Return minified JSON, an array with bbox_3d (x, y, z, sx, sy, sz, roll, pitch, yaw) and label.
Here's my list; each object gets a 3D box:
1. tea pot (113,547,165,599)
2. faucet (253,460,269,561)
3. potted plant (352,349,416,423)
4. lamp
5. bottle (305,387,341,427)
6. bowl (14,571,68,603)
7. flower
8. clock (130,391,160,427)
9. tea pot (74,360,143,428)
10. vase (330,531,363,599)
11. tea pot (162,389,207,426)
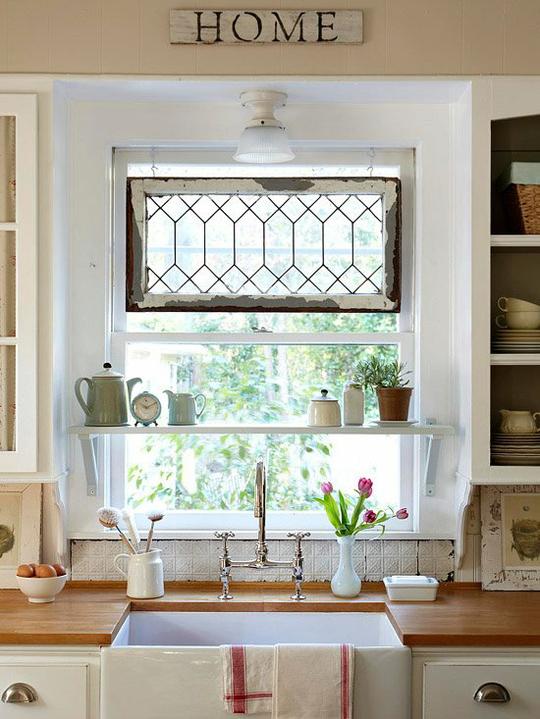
[{"bbox_3d":[-0.375,0.618,2.411,0.145,0.128,0.104,4,-10,-29],"label":"tea pot"},{"bbox_3d":[-0.031,0.447,2.421,0.034,0.298,0.062,-2,3,-3],"label":"faucet"},{"bbox_3d":[0.332,0.084,2.448,0.164,0.186,0.128,3,-8,-32],"label":"potted plant"},{"bbox_3d":[-0.021,-0.668,2.390,0.157,0.199,0.174,-1,3,12],"label":"lamp"},{"bbox_3d":[0.144,0.135,2.480,0.107,0.104,0.102,0,-5,-3],"label":"bottle"},{"bbox_3d":[-0.630,0.635,2.343,0.128,0.094,0.142,-2,3,-17],"label":"bowl"},{"bbox_3d":[0.261,0.437,2.481,0.264,0.173,0.201,12,2,19],"label":"flower"},{"bbox_3d":[-0.359,0.145,2.412,0.087,0.093,0.029,5,-2,1],"label":"clock"},{"bbox_3d":[-0.472,0.106,2.470,0.135,0.183,0.218,-5,-4,44],"label":"tea pot"},{"bbox_3d":[0.213,0.600,2.436,0.086,0.168,0.120,-1,3,6],"label":"vase"},{"bbox_3d":[-0.254,0.140,2.477,0.085,0.102,0.115,-1,3,12],"label":"tea pot"}]
